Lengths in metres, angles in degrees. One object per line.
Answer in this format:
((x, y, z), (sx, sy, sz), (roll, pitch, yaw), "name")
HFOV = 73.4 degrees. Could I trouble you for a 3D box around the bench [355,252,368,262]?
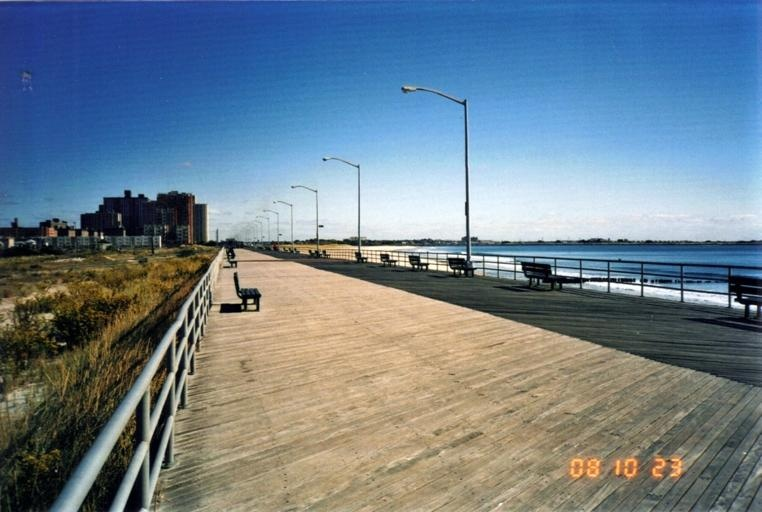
((-1.612, 0.138, 38.658), (1.058, 1.119, 0.879), (-2, 5, 2), "bench")
